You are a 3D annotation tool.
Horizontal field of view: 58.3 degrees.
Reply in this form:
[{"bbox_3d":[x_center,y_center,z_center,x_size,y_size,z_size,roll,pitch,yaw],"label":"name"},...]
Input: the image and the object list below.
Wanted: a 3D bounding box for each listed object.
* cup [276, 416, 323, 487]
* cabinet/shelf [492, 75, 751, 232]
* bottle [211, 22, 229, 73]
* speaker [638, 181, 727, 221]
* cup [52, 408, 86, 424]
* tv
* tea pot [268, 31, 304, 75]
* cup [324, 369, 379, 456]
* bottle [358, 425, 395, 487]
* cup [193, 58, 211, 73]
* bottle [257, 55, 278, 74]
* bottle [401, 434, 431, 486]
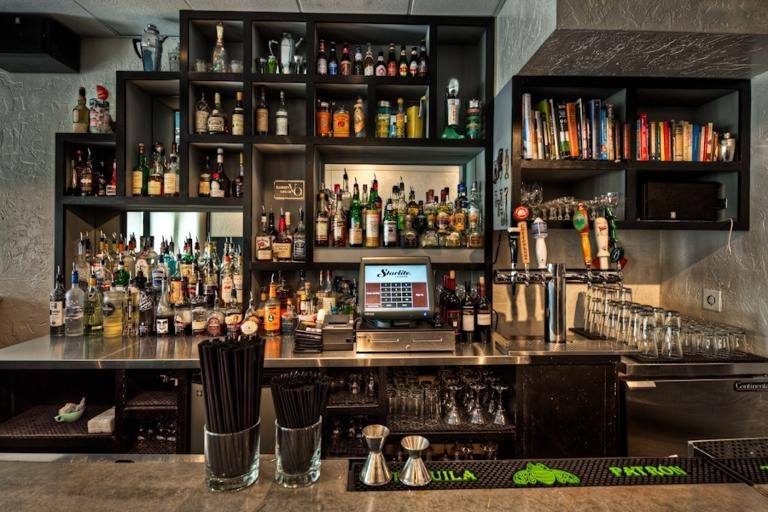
[{"bbox_3d":[-0.467,1.114,3.957,0.330,0.354,0.309,0,-2,0],"label":"cup"},{"bbox_3d":[1.833,-0.715,5.269,1.709,0.986,0.536,3,3,17],"label":"cabinet/shelf"},{"bbox_3d":[-1.299,-1.627,5.437,0.116,0.388,0.261,1,-1,-15],"label":"bottle"},{"bbox_3d":[2.219,-0.404,5.136,0.480,0.221,0.330,0,2,8],"label":"speaker"},{"bbox_3d":[-2.218,1.121,4.835,0.141,0.052,0.094,0,0,-10],"label":"cup"},{"bbox_3d":[0.097,0.248,5.244,0.792,0.646,0.443,0,-18,-2],"label":"tv"},{"bbox_3d":[-0.782,-1.612,5.457,0.353,0.365,0.205,0,18,-8],"label":"tea pot"},{"bbox_3d":[-0.231,1.122,4.946,0.399,0.578,0.352,0,-1,-3],"label":"cup"},{"bbox_3d":[-0.044,1.104,3.816,0.304,0.357,0.291,1,-5,-1],"label":"bottle"},{"bbox_3d":[-1.431,-1.481,5.400,0.135,0.090,0.132,-1,-3,0],"label":"cup"},{"bbox_3d":[-0.926,-1.502,5.422,0.192,0.174,0.117,1,4,-6],"label":"bottle"},{"bbox_3d":[0.175,1.132,3.888,0.179,0.282,0.289,0,-1,2],"label":"bottle"}]
